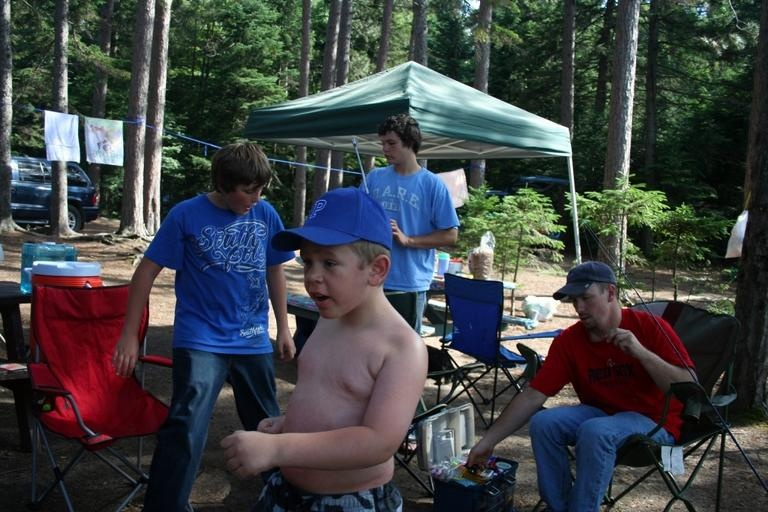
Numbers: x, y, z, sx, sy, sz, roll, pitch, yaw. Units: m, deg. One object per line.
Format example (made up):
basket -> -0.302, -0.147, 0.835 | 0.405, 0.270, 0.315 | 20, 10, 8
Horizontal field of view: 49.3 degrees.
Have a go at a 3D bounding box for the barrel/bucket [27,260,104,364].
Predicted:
barrel/bucket -> -3.225, 0.460, 8.435 | 0.526, 1.129, 0.509 | 1, 2, 0

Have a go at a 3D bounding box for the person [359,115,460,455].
person -> 0.205, -0.071, 8.827 | 0.726, 2.626, 0.751 | 17, 21, 29

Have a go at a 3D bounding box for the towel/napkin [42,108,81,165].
towel/napkin -> -6.036, -2.241, 15.539 | 0.599, 0.900, 0.755 | 1, 3, -23

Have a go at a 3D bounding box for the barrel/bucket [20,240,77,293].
barrel/bucket -> -3.546, 0.119, 8.772 | 0.265, 0.485, 0.507 | 5, 4, 27

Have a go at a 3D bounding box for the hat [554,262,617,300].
hat -> 1.849, 0.233, 7.716 | 0.479, 0.281, 0.328 | -2, -4, -9
